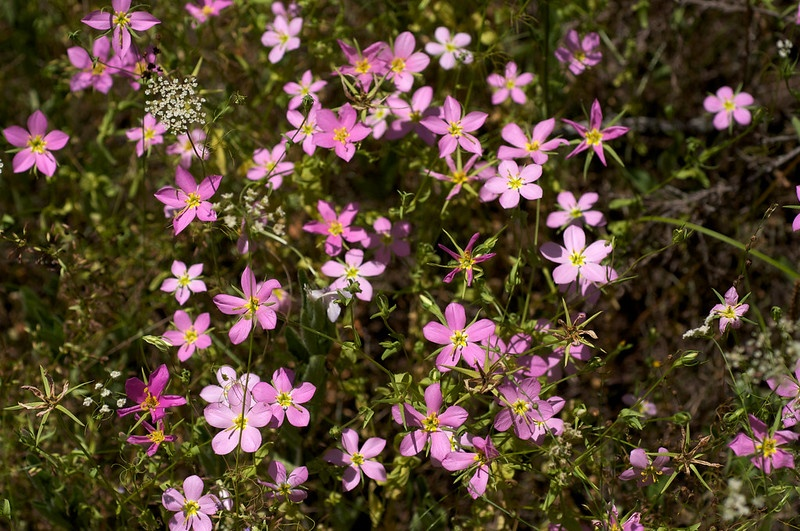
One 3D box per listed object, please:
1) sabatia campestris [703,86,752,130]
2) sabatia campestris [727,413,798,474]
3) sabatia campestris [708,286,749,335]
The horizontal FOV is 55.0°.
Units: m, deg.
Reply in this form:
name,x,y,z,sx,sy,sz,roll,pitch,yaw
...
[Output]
name,x,y,z,sx,sy,sz,roll,pitch,yaw
sabatia campestris,1.622,-0.784,3.783,0.177,0.100,0.242,1,84,16
sabatia campestris,1.653,0.827,3.512,0.238,0.087,0.309,3,80,2
sabatia campestris,1.509,0.213,3.503,0.178,0.090,0.215,-12,35,-9
